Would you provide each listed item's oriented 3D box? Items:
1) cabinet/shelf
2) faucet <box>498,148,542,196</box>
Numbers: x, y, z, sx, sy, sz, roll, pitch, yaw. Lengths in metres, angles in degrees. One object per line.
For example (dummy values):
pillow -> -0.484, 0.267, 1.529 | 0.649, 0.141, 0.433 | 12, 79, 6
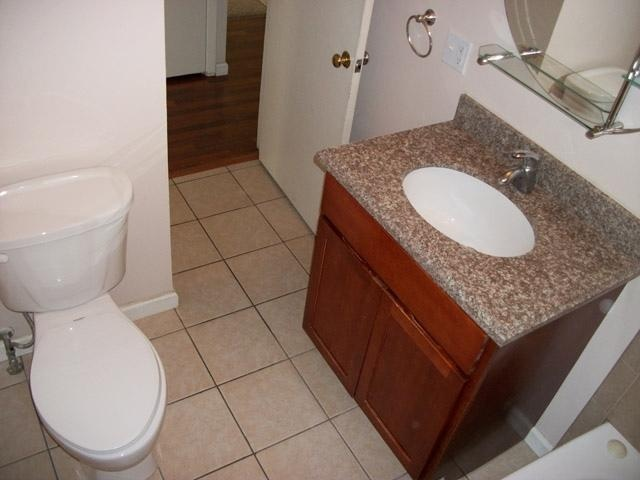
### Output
cabinet/shelf -> 0.403, 0.303, 1.846 | 0.450, 0.898, 0.745 | -22, 59, -26
faucet -> 0.771, -0.259, 1.904 | 0.142, 0.085, 0.172 | 21, 72, 6
